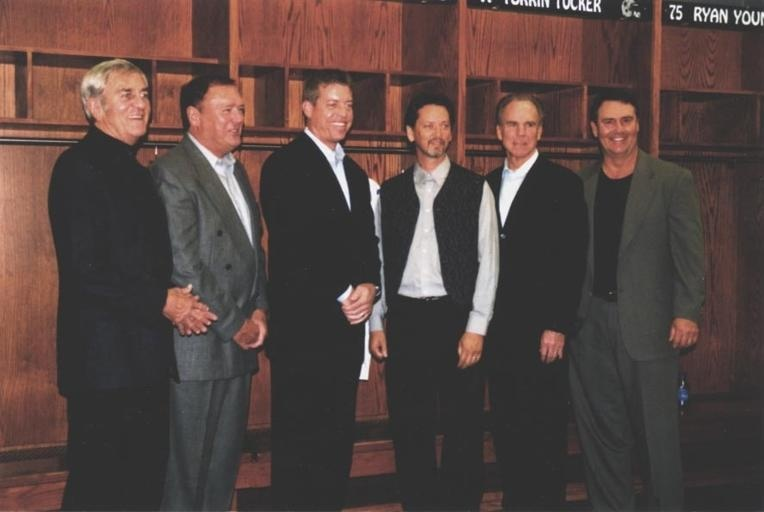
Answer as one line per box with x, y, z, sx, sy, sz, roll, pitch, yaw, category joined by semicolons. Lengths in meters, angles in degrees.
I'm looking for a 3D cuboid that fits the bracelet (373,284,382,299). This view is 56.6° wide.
-0.029;0.209;4.138;0.053;0.068;0.067;8;16;12;bracelet

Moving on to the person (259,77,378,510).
-0.350;0.202;4.106;0.686;2.523;0.366;-4;7;-14;person

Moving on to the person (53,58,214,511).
-1.399;0.372;3.798;0.727;2.089;0.348;-5;7;-25;person
